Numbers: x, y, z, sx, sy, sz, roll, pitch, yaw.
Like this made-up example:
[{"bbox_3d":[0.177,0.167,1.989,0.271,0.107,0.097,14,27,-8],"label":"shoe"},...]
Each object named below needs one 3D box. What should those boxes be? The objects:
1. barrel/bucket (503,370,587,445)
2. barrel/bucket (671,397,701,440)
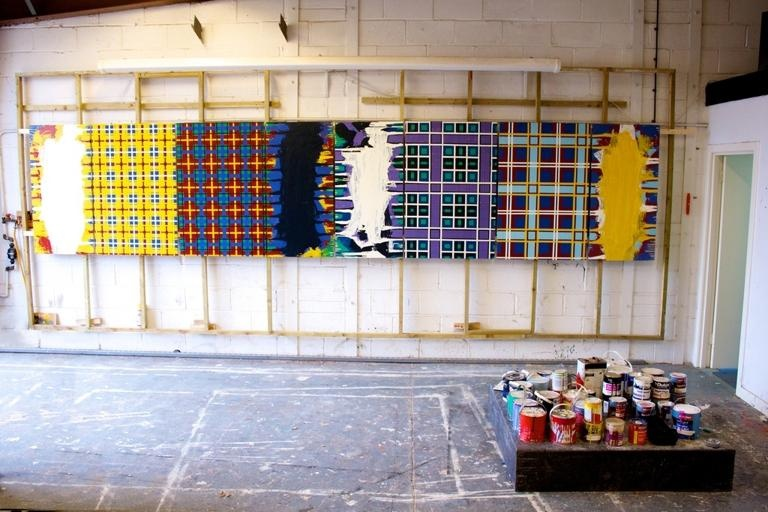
[{"bbox_3d":[1.714,1.629,9.149,0.831,0.262,0.817,0,6,0],"label":"barrel/bucket"},{"bbox_3d":[3.220,1.775,8.972,0.321,0.273,0.291,-2,9,-17],"label":"barrel/bucket"}]
